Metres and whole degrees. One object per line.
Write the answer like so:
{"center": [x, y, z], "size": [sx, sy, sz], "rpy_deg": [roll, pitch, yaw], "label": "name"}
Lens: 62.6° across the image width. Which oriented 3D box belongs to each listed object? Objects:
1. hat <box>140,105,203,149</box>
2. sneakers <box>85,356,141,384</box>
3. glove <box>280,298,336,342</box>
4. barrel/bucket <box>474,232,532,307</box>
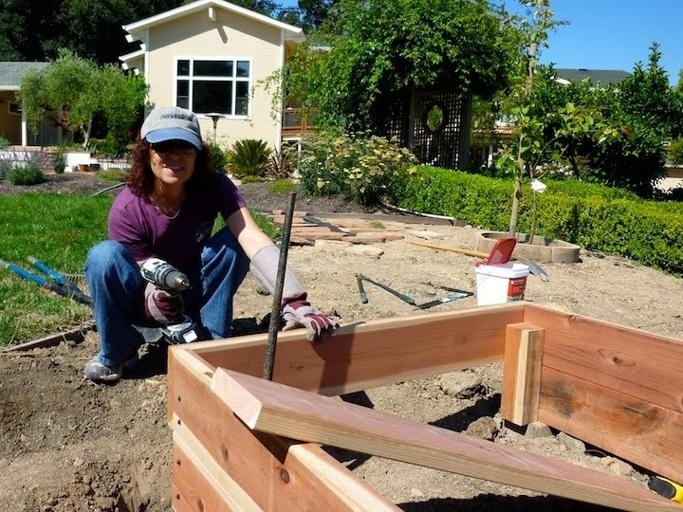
{"center": [-0.949, -0.736, 3.199], "size": [0.316, 0.226, 0.435], "rpy_deg": [-1, 12, -23], "label": "hat"}
{"center": [-1.358, 0.653, 3.360], "size": [0.130, 0.142, 0.281], "rpy_deg": [2, 1, 28], "label": "sneakers"}
{"center": [-0.155, 0.297, 2.607], "size": [0.178, 0.063, 0.181], "rpy_deg": [25, 32, 35], "label": "glove"}
{"center": [1.192, 0.134, 4.185], "size": [0.364, 0.498, 0.444], "rpy_deg": [2, 9, -7], "label": "barrel/bucket"}
